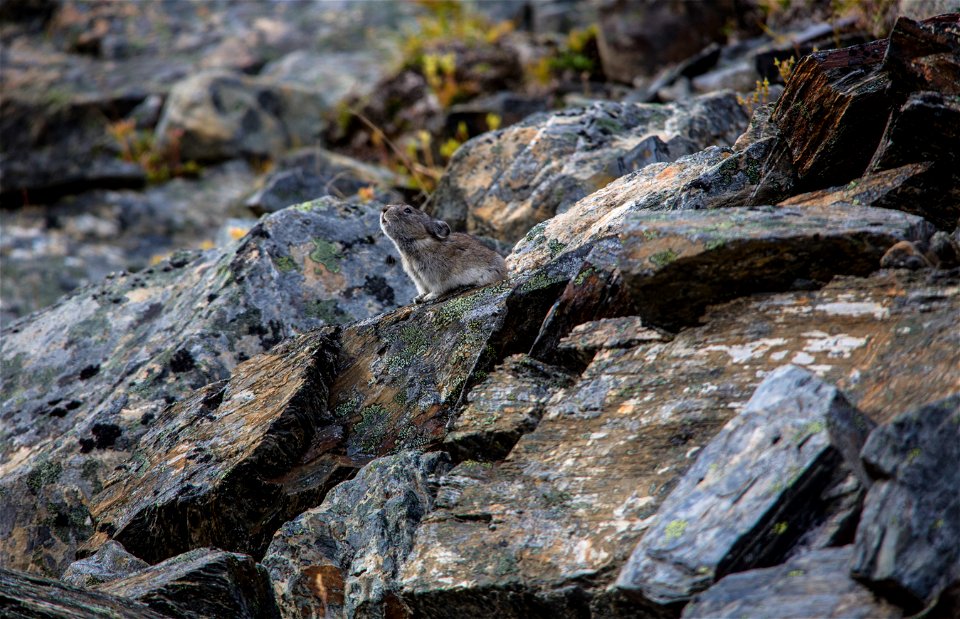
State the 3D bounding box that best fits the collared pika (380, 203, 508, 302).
[{"bbox_3d":[-0.492,-0.682,27.543,1.090,2.199,1.264,-3,82,52],"label":"collared pika"}]
